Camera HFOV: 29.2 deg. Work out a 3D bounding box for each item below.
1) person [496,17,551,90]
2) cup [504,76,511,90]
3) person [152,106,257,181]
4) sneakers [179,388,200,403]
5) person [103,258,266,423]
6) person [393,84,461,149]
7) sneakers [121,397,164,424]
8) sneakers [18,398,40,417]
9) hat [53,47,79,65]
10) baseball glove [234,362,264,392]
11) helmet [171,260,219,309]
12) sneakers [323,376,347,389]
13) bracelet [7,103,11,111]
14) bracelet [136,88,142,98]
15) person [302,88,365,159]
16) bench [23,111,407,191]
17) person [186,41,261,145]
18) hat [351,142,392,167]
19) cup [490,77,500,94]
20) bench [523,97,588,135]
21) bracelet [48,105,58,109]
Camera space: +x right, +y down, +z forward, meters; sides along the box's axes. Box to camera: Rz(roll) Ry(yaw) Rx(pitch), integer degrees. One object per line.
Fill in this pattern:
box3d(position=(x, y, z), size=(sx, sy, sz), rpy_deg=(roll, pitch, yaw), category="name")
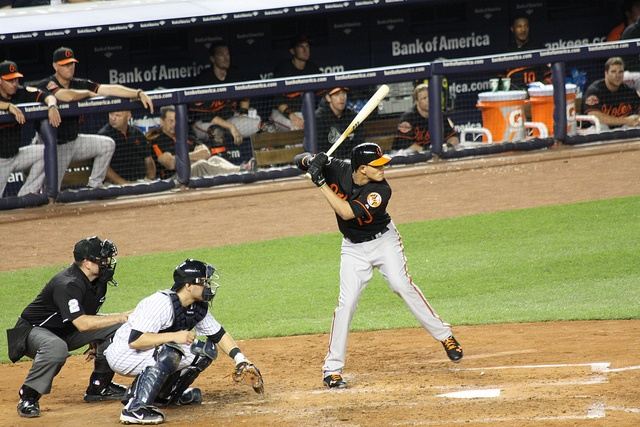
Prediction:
box3d(position=(3.338, -2.613, 19.870), size=(0.700, 1.165, 1.073), rpy_deg=(-4, 10, 8), category="person")
box3d(position=(2.946, -2.052, 19.455), size=(0.187, 0.201, 0.163), rpy_deg=(-1, 8, 0), category="cup")
box3d(position=(-1.828, -0.966, 18.629), size=(1.548, 1.037, 0.680), rpy_deg=(9, 26, 24), category="person")
box3d(position=(-1.494, 2.134, 14.087), size=(0.187, 0.125, 0.191), rpy_deg=(11, -15, -40), category="sneakers")
box3d(position=(-1.646, 1.437, 13.822), size=(1.531, 1.747, 0.634), rpy_deg=(-8, 11, -12), category="person")
box3d(position=(1.670, -1.468, 19.347), size=(1.152, 0.961, 0.763), rpy_deg=(-6, 11, -10), category="person")
box3d(position=(-1.976, 2.217, 13.618), size=(0.462, 0.228, 0.258), rpy_deg=(0, 10, 3), category="sneakers")
box3d(position=(-3.313, 2.245, 13.912), size=(0.258, 0.198, 0.133), rpy_deg=(-6, 10, -4), category="sneakers")
box3d(position=(-3.690, -2.294, 17.849), size=(0.321, 0.175, 0.228), rpy_deg=(3, 15, 35), category="hat")
box3d(position=(-0.778, 1.877, 13.917), size=(0.223, 0.435, 0.203), rpy_deg=(-33, 32, 10), category="baseball glove")
box3d(position=(-1.433, 0.790, 13.871), size=(0.602, 0.513, 0.454), rpy_deg=(3, 3, 6), category="helmet")
box3d(position=(0.177, 1.990, 14.222), size=(0.240, 0.095, 0.131), rpy_deg=(2, 9, 34), category="sneakers")
box3d(position=(-4.479, -1.524, 17.657), size=(0.045, 0.082, 0.017), rpy_deg=(1, 13, 32), category="bracelet")
box3d(position=(-2.680, -1.789, 18.155), size=(0.110, 0.138, 0.161), rpy_deg=(-5, 2, -9), category="bracelet")
box3d(position=(0.201, -1.413, 19.091), size=(0.861, 1.066, 0.396), rpy_deg=(21, -5, -33), category="person")
box3d(position=(-1.851, -0.895, 18.002), size=(6.052, 0.966, 1.040), rpy_deg=(-3, 3, 9), category="bench")
box3d(position=(-1.466, -1.803, 18.915), size=(1.188, 1.449, 1.030), rpy_deg=(-12, 30, -30), category="person")
box3d(position=(0.594, -0.698, 14.357), size=(0.501, 0.243, 0.366), rpy_deg=(-4, 21, 9), category="hat")
box3d(position=(2.766, -2.064, 19.581), size=(0.237, 0.228, 0.212), rpy_deg=(0, 5, -2), category="cup")
box3d(position=(3.801, -1.628, 19.706), size=(0.662, 0.648, 0.731), rpy_deg=(6, 12, 40), category="bench")
box3d(position=(-3.860, -1.535, 17.739), size=(0.133, 0.065, 0.050), rpy_deg=(-10, 11, -28), category="bracelet")
